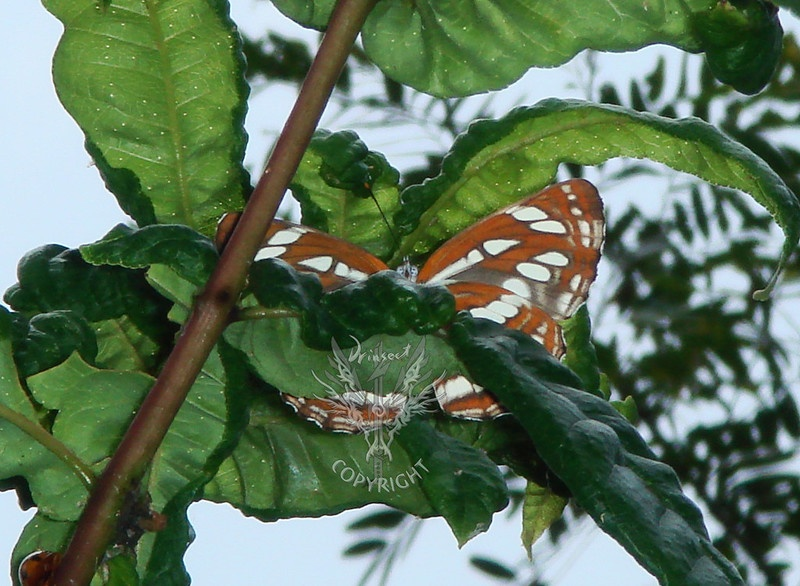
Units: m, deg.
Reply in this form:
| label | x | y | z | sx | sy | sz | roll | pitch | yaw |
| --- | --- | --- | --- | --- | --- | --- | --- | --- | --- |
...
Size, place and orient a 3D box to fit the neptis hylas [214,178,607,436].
| label | x | y | z | sx | sy | sz | roll | pitch | yaw |
| --- | --- | --- | --- | --- | --- | --- | --- | --- | --- |
| neptis hylas | 0.133 | 0.017 | 2.629 | 0.614 | 0.322 | 0.167 | 1 | 1 | -3 |
